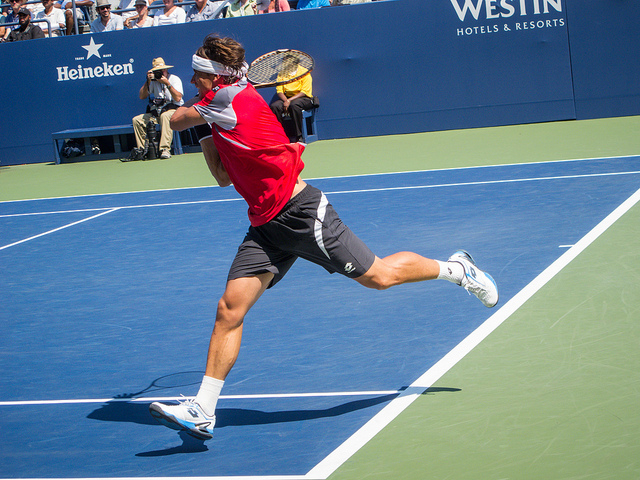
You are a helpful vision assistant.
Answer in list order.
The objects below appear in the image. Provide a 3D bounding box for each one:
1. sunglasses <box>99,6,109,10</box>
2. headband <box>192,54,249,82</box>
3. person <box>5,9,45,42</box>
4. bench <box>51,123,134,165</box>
[{"bbox_3d":[-5.234,-5.659,14.789,0.231,0.067,0.075,-5,8,1],"label":"sunglasses"},{"bbox_3d":[-0.522,-0.907,3.239,0.263,0.095,0.164,7,11,7],"label":"headband"},{"bbox_3d":[-7.309,-5.336,15.167,1.126,0.823,0.453,-3,11,27],"label":"person"},{"bbox_3d":[-5.667,-2.308,14.987,2.068,0.519,1.204,-2,25,5],"label":"bench"}]
